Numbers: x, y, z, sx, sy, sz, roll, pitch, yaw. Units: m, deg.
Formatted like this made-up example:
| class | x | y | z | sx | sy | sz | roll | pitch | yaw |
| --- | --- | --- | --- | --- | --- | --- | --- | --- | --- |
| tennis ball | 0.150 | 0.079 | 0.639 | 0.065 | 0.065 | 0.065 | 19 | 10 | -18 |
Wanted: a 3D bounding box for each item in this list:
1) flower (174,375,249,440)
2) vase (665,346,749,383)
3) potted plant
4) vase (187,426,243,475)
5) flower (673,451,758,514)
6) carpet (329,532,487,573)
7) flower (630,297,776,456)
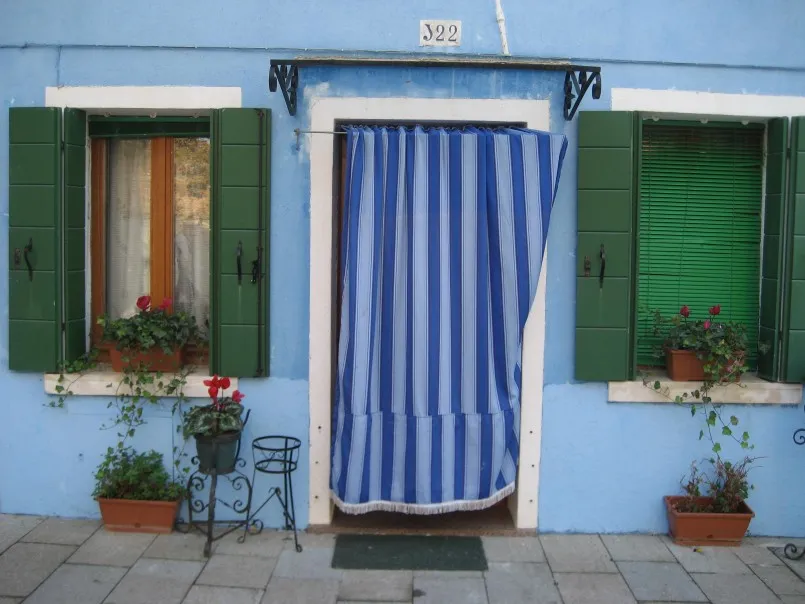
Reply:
| class | x | y | z | sx | sy | sz | roll | pitch | yaw |
| --- | --- | --- | --- | --- | --- | --- | --- | --- | --- |
| flower | -1.518 | 0.864 | 7.532 | 0.448 | 0.464 | 0.494 | 4 | -2 | 6 |
| vase | 2.485 | 0.473 | 7.746 | 0.411 | 0.226 | 0.319 | 1 | 0 | 8 |
| potted plant | -2.146 | 1.525 | 7.902 | 0.577 | 0.555 | 0.699 | 3 | -2 | -4 |
| vase | -1.441 | 1.186 | 7.623 | 0.482 | 0.338 | 0.519 | 2 | 1 | -20 |
| flower | 2.586 | 1.498 | 7.741 | 0.563 | 0.455 | 0.409 | 1 | -4 | -1 |
| carpet | 0.060 | 1.976 | 7.499 | 1.208 | 0.165 | 0.400 | -1 | 8 | 1 |
| flower | 2.467 | 0.603 | 7.754 | 0.933 | 0.880 | 1.103 | 2 | -4 | 8 |
